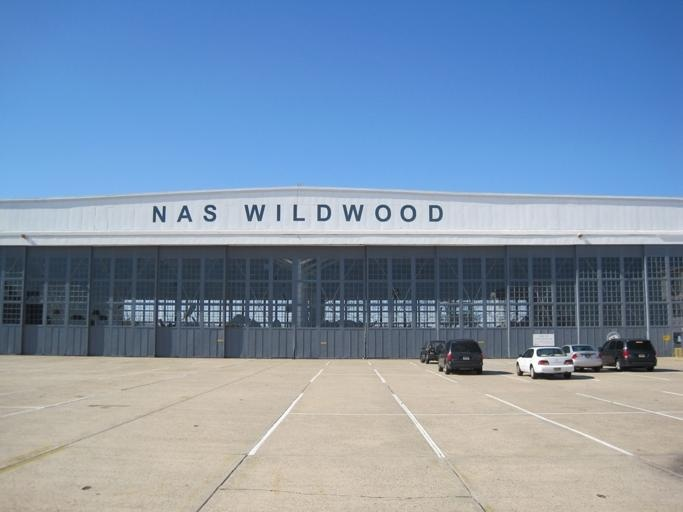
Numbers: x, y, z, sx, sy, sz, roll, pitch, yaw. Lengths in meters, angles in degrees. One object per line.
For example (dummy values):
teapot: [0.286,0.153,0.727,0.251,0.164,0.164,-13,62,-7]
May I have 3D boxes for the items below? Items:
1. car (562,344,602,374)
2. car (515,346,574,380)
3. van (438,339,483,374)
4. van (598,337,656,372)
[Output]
car: [12.790,5.404,33.672,1.204,0.975,2.898,-2,-6,6]
car: [9.532,5.070,30.575,1.290,0.981,2.889,0,-6,0]
van: [6.019,5.131,32.766,1.303,1.198,2.575,0,-4,1]
van: [15.404,5.194,34.429,1.762,1.346,3.529,0,-5,4]
